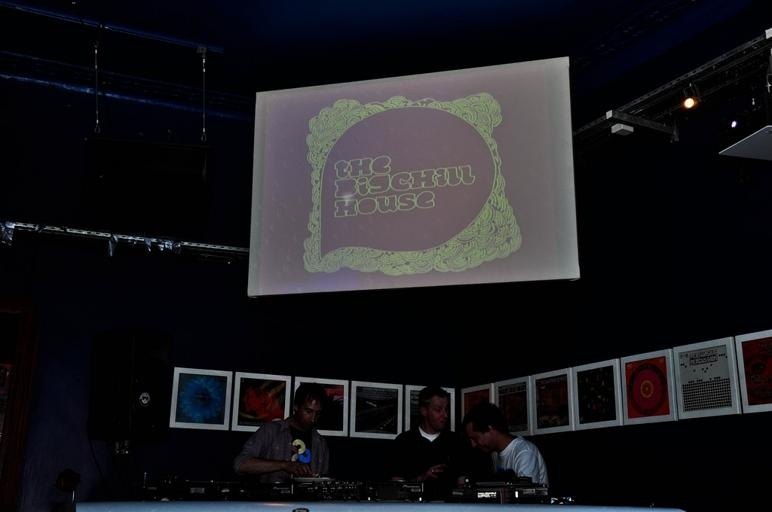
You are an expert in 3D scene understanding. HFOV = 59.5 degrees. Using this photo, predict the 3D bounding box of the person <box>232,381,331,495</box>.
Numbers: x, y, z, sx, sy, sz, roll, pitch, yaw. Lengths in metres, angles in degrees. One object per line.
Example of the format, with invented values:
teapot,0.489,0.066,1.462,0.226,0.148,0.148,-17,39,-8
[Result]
person,-0.843,1.480,5.701,0.647,0.782,0.789,-3,-11,22

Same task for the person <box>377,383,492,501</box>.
person,0.448,1.793,6.038,0.815,1.283,0.697,4,-7,-10
